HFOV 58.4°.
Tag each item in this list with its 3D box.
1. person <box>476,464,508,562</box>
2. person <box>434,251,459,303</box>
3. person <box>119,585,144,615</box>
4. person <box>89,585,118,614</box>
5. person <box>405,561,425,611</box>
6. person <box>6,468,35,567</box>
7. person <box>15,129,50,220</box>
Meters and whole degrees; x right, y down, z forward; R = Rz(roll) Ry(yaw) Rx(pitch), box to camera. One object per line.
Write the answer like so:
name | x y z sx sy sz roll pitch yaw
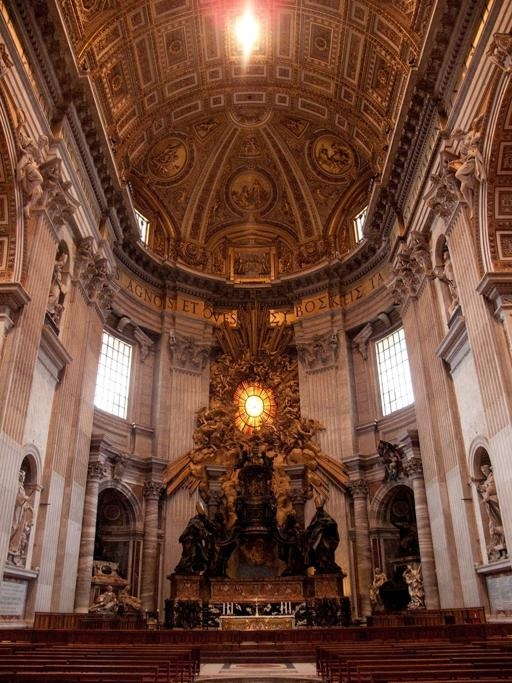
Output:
person | 4.914 3.581 9.659 0.407 1.860 1.035 -11 -28 17
person | 5.293 -1.984 12.804 0.206 0.373 1.134 -15 -27 3
person | -3.799 7.840 13.863 0.581 0.444 0.780 10 -19 -23
person | -4.255 7.427 13.047 0.576 0.823 0.320 7 -33 -11
person | 4.437 6.887 12.891 0.502 1.085 0.944 -9 -28 14
person | -4.969 3.723 9.844 0.409 2.037 1.238 8 -29 -20
person | -5.040 -4.075 10.384 0.432 2.054 1.362 3 -27 -11
